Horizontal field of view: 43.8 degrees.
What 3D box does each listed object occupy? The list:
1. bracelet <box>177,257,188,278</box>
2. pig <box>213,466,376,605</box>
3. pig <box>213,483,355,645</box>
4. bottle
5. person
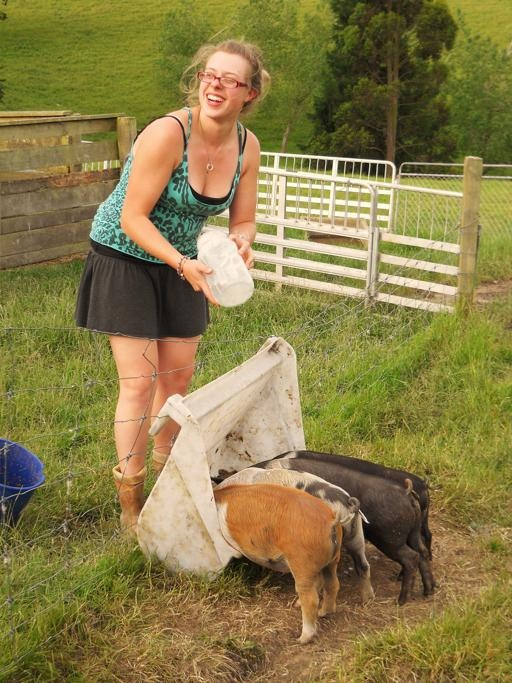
[{"bbox_3d":[-0.231,-0.233,2.006,0.031,0.069,0.081,0,12,-7],"label":"bracelet"},{"bbox_3d":[0.227,0.654,2.487,0.597,0.478,0.510,-6,21,-35],"label":"pig"},{"bbox_3d":[0.086,0.708,2.171,0.453,0.458,0.260,12,16,41],"label":"pig"},{"bbox_3d":[-0.098,-0.234,2.021,0.145,0.138,0.327,-5,33,-19],"label":"bottle"},{"bbox_3d":[-0.248,-0.076,2.467,0.675,1.916,0.660,-11,29,-40],"label":"person"}]
